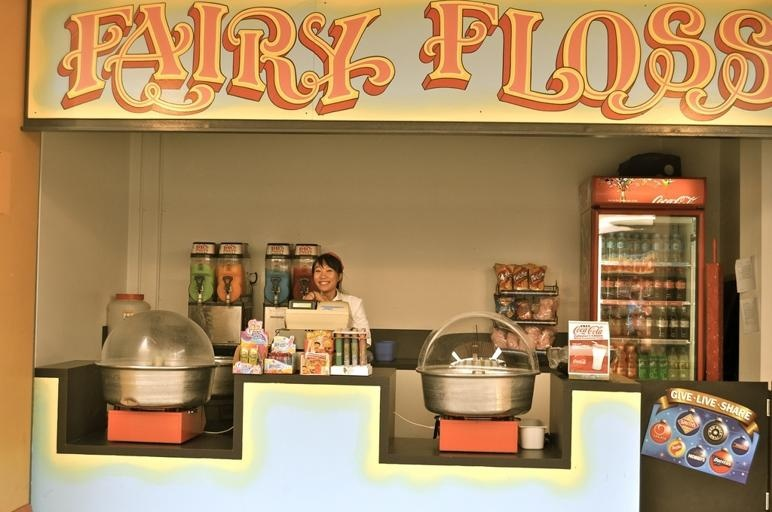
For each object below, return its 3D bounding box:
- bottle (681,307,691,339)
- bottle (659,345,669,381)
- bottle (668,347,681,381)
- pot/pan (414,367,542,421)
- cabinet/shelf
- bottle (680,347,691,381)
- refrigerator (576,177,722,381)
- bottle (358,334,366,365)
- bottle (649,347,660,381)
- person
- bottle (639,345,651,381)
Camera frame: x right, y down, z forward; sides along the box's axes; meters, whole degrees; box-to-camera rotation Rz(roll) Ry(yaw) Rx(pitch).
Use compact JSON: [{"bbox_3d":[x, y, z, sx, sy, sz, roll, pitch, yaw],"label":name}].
[{"bbox_3d":[2.835,0.627,7.020,0.088,0.308,0.038,0,-2,25],"label":"bottle"},{"bbox_3d":[2.649,1.017,7.044,0.080,0.273,0.103,0,-2,23],"label":"bottle"},{"bbox_3d":[2.744,1.011,7.024,0.101,0.252,0.067,0,-2,22],"label":"bottle"},{"bbox_3d":[0.660,0.959,5.218,0.844,0.309,0.858,1,-5,-10],"label":"pot/pan"},{"bbox_3d":[1.215,0.576,6.357,0.761,1.010,0.331,0,-8,1],"label":"cabinet/shelf"},{"bbox_3d":[2.833,1.014,6.989,0.119,0.281,0.070,0,-2,21],"label":"bottle"},{"bbox_3d":[2.468,0.209,7.068,1.139,1.895,0.426,1,-2,3],"label":"refrigerator"},{"bbox_3d":[-0.156,0.633,5.121,0.052,0.215,0.178,1,-1,8],"label":"bottle"},{"bbox_3d":[2.556,1.019,7.055,0.097,0.273,0.087,0,-2,15],"label":"bottle"},{"bbox_3d":[-0.433,0.300,6.414,0.569,0.654,1.936,1,-1,-5],"label":"person"},{"bbox_3d":[2.461,1.001,7.056,0.129,0.311,0.061,0,-2,19],"label":"bottle"}]
